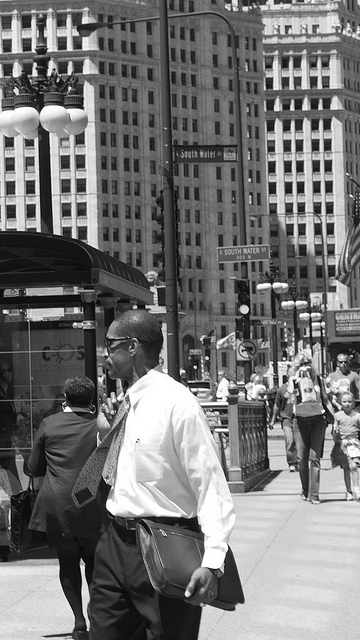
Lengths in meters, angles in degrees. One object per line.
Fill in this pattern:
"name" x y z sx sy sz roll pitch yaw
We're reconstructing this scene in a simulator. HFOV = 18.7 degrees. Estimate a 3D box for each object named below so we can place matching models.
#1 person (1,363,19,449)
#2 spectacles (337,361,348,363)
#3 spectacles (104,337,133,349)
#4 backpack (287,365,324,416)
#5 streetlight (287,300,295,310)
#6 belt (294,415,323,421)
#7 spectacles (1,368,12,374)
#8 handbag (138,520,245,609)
"person" -1.690 0.853 10.772 0.185 0.849 0.348 -5 -4 -9
"spectacles" 2.702 0.697 17.832 0.177 0.033 0.100 -3 -4 -37
"spectacles" -0.258 0.092 4.470 0.046 0.040 0.144 -2 -5 -45
"backpack" 1.473 0.942 12.982 0.340 0.567 0.538 -4 -42 -2
"streetlight" 4.467 -0.563 43.726 0.310 0.365 0.299 -6 2 -33
"belt" 1.521 1.164 12.756 0.315 0.071 0.103 -6 -3 12
"spectacles" -1.731 0.517 10.929 0.061 0.046 0.061 0 1 6
"handbag" 0.060 0.943 4.121 0.301 0.437 0.106 -15 11 22
